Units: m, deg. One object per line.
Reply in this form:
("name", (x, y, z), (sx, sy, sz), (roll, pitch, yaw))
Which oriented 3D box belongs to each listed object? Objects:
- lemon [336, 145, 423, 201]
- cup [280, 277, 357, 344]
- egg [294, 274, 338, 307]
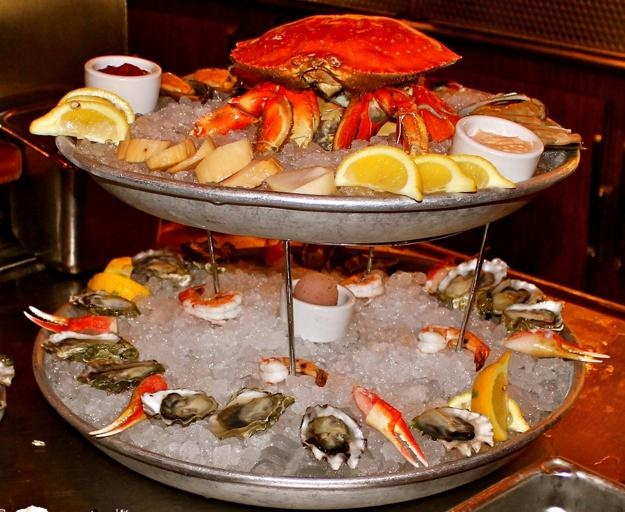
("lemon", (0.084, -0.118, 0.774), (0.041, 0.065, 0.176), (-15, -18, 42))
("cup", (0.019, 0.094, 1.108), (0.170, 0.066, 0.131), (1, 21, -1))
("egg", (-0.011, 0.063, 1.075), (0.089, 0.050, 0.060), (7, -12, -25))
